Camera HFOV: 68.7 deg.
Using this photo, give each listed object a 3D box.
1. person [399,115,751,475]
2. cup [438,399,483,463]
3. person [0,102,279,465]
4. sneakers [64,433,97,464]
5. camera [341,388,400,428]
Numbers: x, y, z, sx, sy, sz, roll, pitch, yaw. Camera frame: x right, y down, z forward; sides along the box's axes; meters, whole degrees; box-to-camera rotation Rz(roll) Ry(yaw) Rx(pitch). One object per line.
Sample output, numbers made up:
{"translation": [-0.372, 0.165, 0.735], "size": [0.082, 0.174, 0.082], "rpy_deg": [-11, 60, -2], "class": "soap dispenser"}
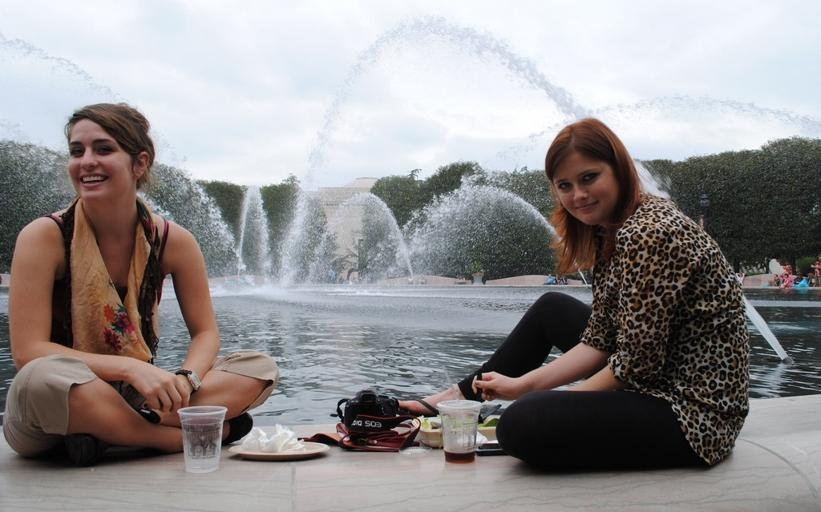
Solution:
{"translation": [1.012, 0.190, 3.174], "size": [1.273, 1.788, 0.920], "rpy_deg": [-1, -1, 37], "class": "person"}
{"translation": [0.253, 0.941, 3.279], "size": [0.324, 0.321, 0.317], "rpy_deg": [0, -2, 0], "class": "cup"}
{"translation": [-1.561, 0.133, 3.305], "size": [1.282, 1.993, 0.572], "rpy_deg": [0, -1, -16], "class": "person"}
{"translation": [-1.736, 1.001, 3.101], "size": [0.211, 0.128, 0.116], "rpy_deg": [-2, -6, 25], "class": "sneakers"}
{"translation": [-0.273, 0.923, 3.629], "size": [0.338, 0.181, 0.242], "rpy_deg": [2, -5, -20], "class": "camera"}
